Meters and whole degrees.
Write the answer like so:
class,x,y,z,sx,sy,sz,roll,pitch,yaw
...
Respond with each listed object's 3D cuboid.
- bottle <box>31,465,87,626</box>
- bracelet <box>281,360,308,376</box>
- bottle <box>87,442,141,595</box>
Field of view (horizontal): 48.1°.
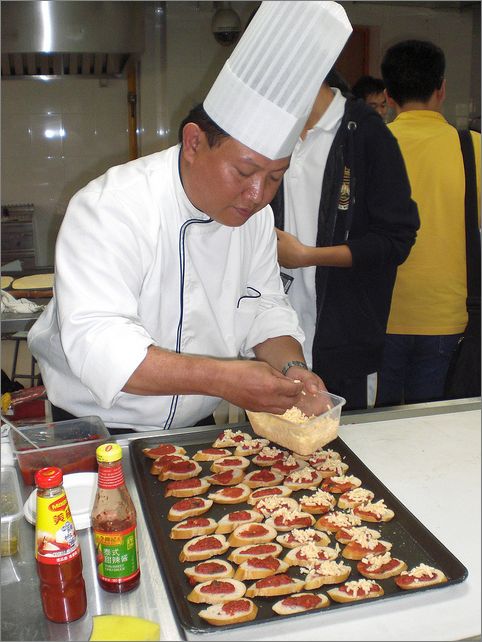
class,x,y,z,sx,sy,sz,roll,pitch,yaw
bottle,-0.219,0.278,0.647,0.053,0.195,0.052,-1,10,0
bracelet,0.123,0.114,1.304,0.037,0.012,0.039,-11,24,2
bottle,-0.171,0.257,0.719,0.060,0.230,0.128,-4,10,-14
